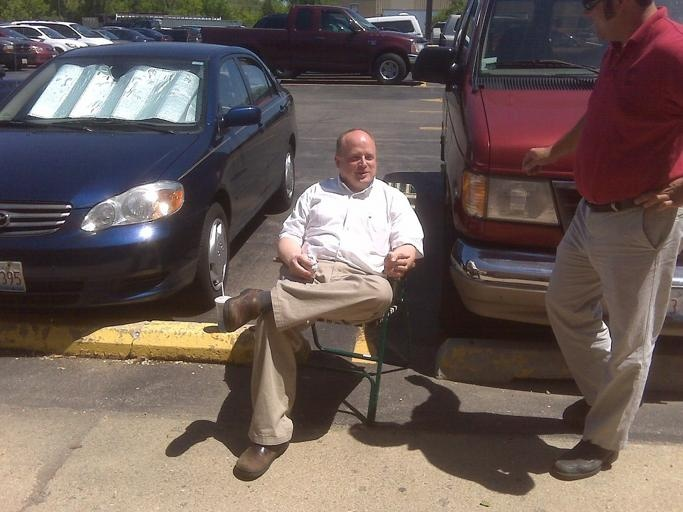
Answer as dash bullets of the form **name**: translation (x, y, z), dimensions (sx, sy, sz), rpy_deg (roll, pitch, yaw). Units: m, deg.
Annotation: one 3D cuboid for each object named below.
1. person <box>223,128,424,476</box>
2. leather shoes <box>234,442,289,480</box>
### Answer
- **person**: translation (-0.084, 0.215, 3.257), dimensions (0.790, 1.418, 1.472), rpy_deg (12, 33, 19)
- **leather shoes**: translation (-0.403, 1.001, 3.041), dimensions (0.103, 0.112, 0.282), rpy_deg (17, 19, 25)
